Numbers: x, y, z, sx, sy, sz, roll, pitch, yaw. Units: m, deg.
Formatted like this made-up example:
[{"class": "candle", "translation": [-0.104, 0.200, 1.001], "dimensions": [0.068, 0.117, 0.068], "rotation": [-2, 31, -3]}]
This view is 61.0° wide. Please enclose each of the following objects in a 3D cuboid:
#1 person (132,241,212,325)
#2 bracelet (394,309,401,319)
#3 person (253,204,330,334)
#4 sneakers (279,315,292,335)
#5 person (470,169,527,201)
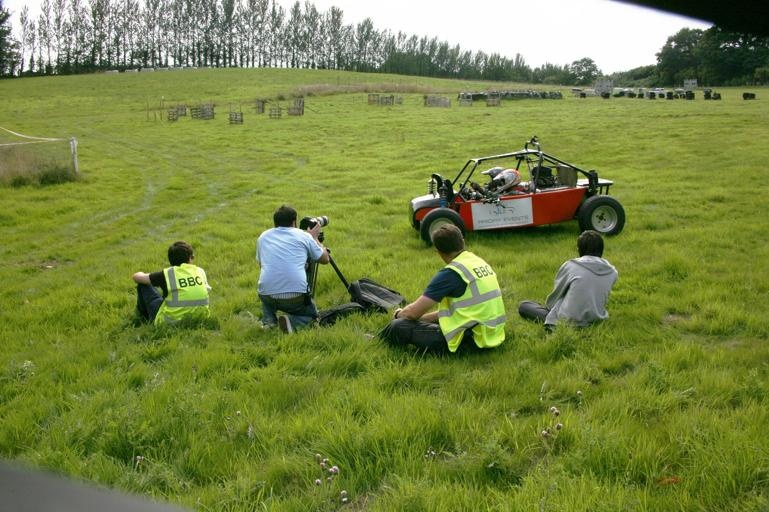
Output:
[{"class": "person", "translation": [-3.421, 0.473, 10.635], "dimensions": [1.180, 1.532, 1.483], "rotation": [-1, 9, -44]}, {"class": "bracelet", "translation": [0.187, 0.845, 9.427], "dimensions": [0.088, 0.125, 0.125], "rotation": [17, 35, -6]}, {"class": "person", "translation": [-1.457, 0.188, 10.179], "dimensions": [1.013, 1.684, 1.207], "rotation": [-6, 17, -25]}, {"class": "sneakers", "translation": [-1.477, 1.039, 9.819], "dimensions": [0.128, 0.327, 0.131], "rotation": [-30, -21, 26]}, {"class": "person", "translation": [2.501, -1.556, 14.462], "dimensions": [0.901, 0.504, 0.691], "rotation": [-22, 24, 20]}]
